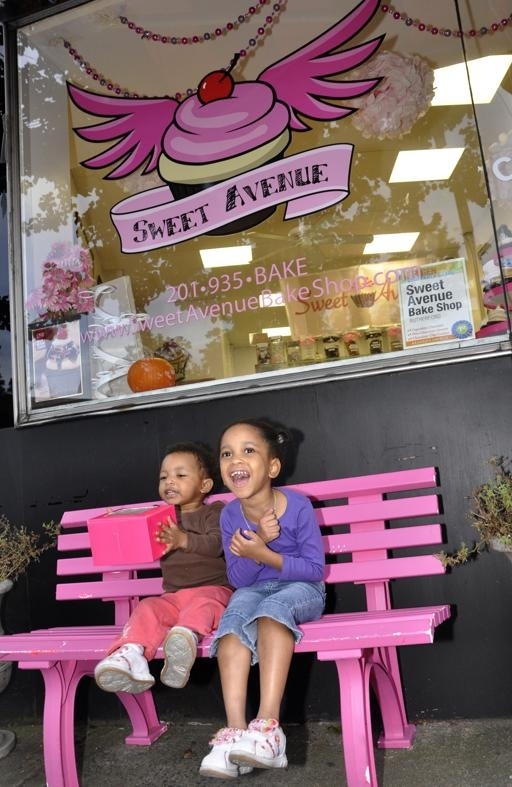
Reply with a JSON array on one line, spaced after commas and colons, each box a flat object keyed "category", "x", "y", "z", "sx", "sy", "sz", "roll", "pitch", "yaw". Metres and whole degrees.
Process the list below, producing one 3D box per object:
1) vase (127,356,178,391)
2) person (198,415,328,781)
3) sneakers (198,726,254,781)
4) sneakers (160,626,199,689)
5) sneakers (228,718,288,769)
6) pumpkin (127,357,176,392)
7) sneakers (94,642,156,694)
[{"category": "vase", "x": -0.483, "y": -0.085, "z": 2.532, "sx": 0.158, "sy": 0.158, "sz": 0.164, "roll": 1, "pitch": 3, "yaw": 5}, {"category": "person", "x": 0.024, "y": 0.453, "z": 1.420, "sx": 0.309, "sy": 0.737, "sz": 0.769, "roll": -5, "pitch": 2, "yaw": 5}, {"category": "sneakers", "x": -0.056, "y": 0.712, "z": 1.117, "sx": 0.061, "sy": 0.077, "sz": 0.174, "roll": -2, "pitch": -25, "yaw": 12}, {"category": "sneakers", "x": -0.188, "y": 0.657, "z": 1.381, "sx": 0.075, "sy": 0.159, "sz": 0.071, "roll": 7, "pitch": 9, "yaw": 7}, {"category": "sneakers", "x": 0.008, "y": 0.679, "z": 1.080, "sx": 0.055, "sy": 0.072, "sz": 0.154, "roll": -6, "pitch": -30, "yaw": 20}, {"category": "pumpkin", "x": -0.485, "y": -0.082, "z": 2.533, "sx": 0.161, "sy": 0.161, "sz": 0.168, "roll": 1, "pitch": 3, "yaw": 3}, {"category": "sneakers", "x": -0.308, "y": 0.656, "z": 1.326, "sx": 0.079, "sy": 0.087, "sz": 0.179, "roll": 9, "pitch": -31, "yaw": 8}]
